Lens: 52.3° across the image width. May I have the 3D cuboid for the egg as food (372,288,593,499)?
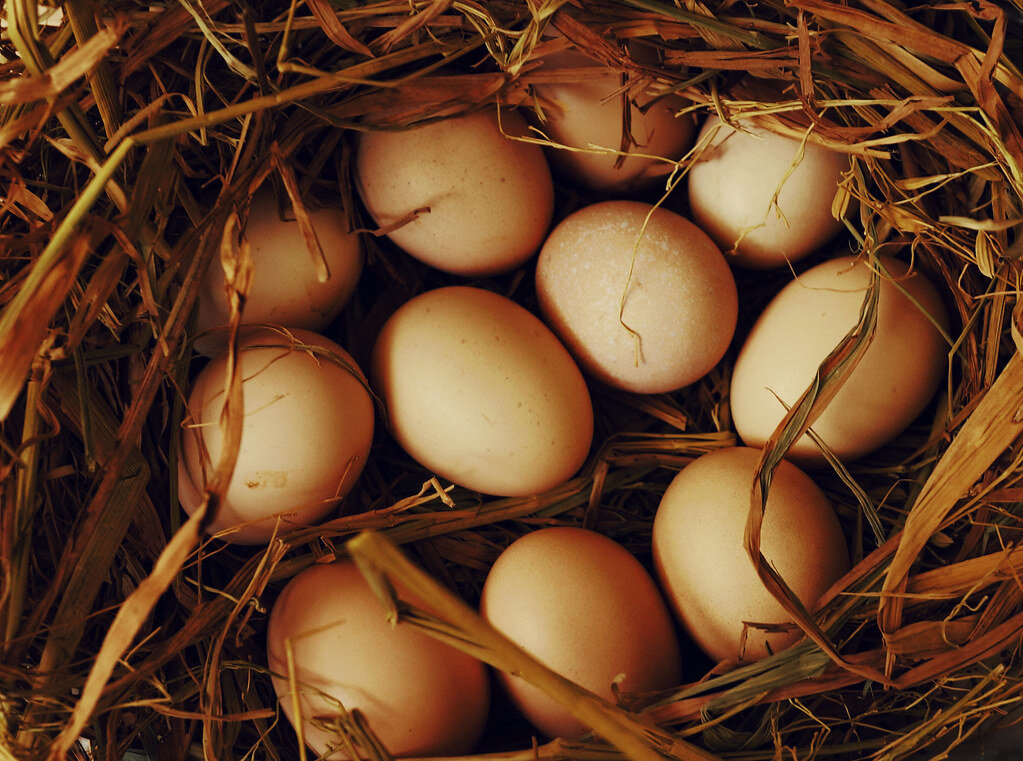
[{"bbox_3d":[-0.028,0.015,0.989,0.178,0.123,0.202,-31,68,-9],"label":"egg as food"}]

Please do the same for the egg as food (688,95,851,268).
[{"bbox_3d":[0.232,-0.198,1.044,0.158,0.123,0.123,24,100,34],"label":"egg as food"}]

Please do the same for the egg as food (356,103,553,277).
[{"bbox_3d":[-0.052,-0.175,0.996,0.182,0.108,0.122,-11,67,0],"label":"egg as food"}]

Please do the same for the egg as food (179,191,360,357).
[{"bbox_3d":[-0.250,-0.108,0.988,0.090,0.123,0.085,-35,79,10],"label":"egg as food"}]

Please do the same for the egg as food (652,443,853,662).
[{"bbox_3d":[0.238,0.153,1.025,0.193,0.227,0.181,0,76,-15],"label":"egg as food"}]

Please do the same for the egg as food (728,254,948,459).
[{"bbox_3d":[0.314,-0.027,0.981,0.186,0.122,0.193,16,69,11],"label":"egg as food"}]

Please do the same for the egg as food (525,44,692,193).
[{"bbox_3d":[0.092,-0.240,0.990,0.141,0.107,0.105,33,103,8],"label":"egg as food"}]

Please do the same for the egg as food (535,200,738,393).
[{"bbox_3d":[0.110,-0.090,1.042,0.232,0.179,0.175,-6,101,-19],"label":"egg as food"}]

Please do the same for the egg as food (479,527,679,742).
[{"bbox_3d":[0.080,0.220,0.987,0.131,0.140,0.173,-48,30,8],"label":"egg as food"}]
